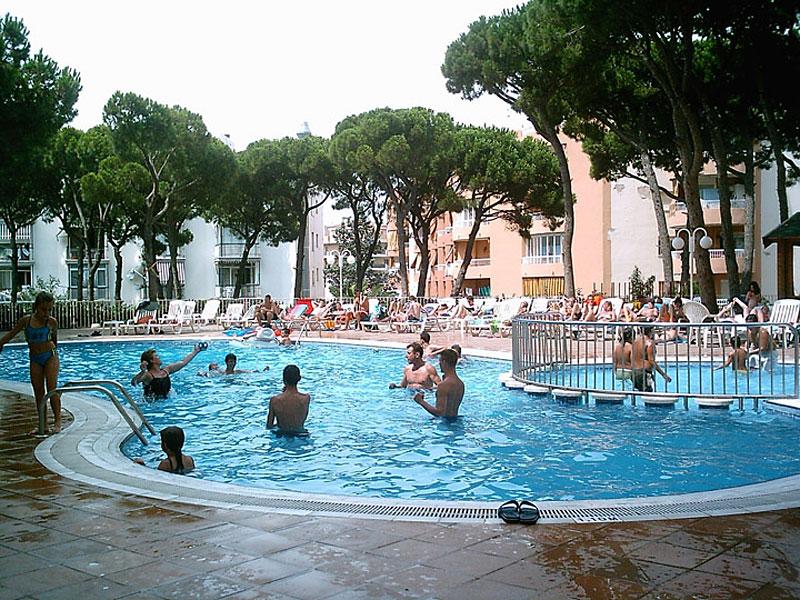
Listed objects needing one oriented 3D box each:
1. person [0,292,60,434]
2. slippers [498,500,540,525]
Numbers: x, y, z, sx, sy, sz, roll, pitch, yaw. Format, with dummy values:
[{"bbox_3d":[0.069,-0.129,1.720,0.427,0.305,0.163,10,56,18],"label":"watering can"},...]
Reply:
[{"bbox_3d":[-5.103,0.834,10.072,0.629,1.974,1.441,0,-3,-26],"label":"person"},{"bbox_3d":[1.102,1.971,6.604,0.192,0.095,0.288,1,9,2],"label":"slippers"}]
